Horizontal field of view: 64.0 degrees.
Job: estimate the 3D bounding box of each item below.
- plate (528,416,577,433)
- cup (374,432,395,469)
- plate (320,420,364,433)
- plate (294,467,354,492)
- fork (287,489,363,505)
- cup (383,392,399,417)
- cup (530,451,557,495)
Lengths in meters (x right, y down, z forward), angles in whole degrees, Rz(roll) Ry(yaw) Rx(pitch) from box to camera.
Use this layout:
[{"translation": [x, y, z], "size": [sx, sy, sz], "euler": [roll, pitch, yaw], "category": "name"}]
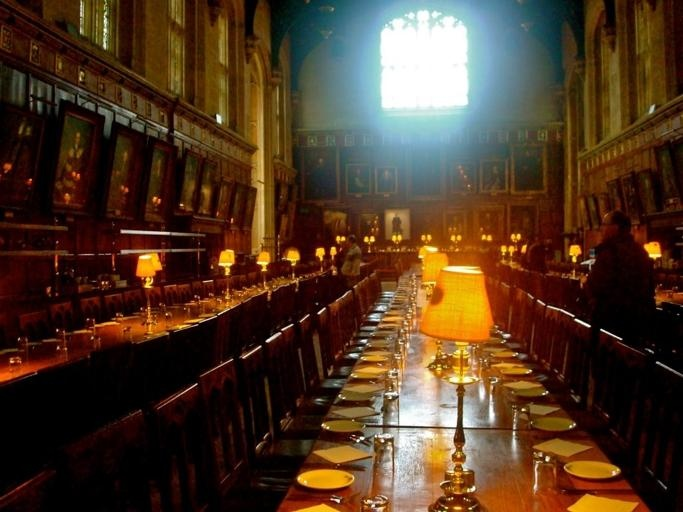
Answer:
[{"translation": [1.136, 0.904, 2.931], "size": [0.232, 0.030, 0.161], "euler": [-1, 1, 2], "category": "plate"}, {"translation": [0.200, 0.878, 2.524], "size": [0.092, 0.132, 0.132], "euler": [-1, 2, 2], "category": "cup"}, {"translation": [0.010, 0.915, 2.929], "size": [0.221, 0.030, 0.137], "euler": [0, 1, 18], "category": "plate"}, {"translation": [-0.071, 0.990, 2.423], "size": [0.255, 0.037, 0.161], "euler": [-1, 1, -1], "category": "plate"}, {"translation": [-0.062, 1.021, 2.313], "size": [0.218, 0.040, 0.044], "euler": [-2, 4, 0], "category": "fork"}, {"translation": [0.278, 0.825, 3.046], "size": [0.086, 0.115, 0.090], "euler": [0, 3, 0], "category": "cup"}, {"translation": [0.852, 0.917, 2.294], "size": [0.108, 0.185, 0.116], "euler": [-1, 6, 0], "category": "cup"}]
